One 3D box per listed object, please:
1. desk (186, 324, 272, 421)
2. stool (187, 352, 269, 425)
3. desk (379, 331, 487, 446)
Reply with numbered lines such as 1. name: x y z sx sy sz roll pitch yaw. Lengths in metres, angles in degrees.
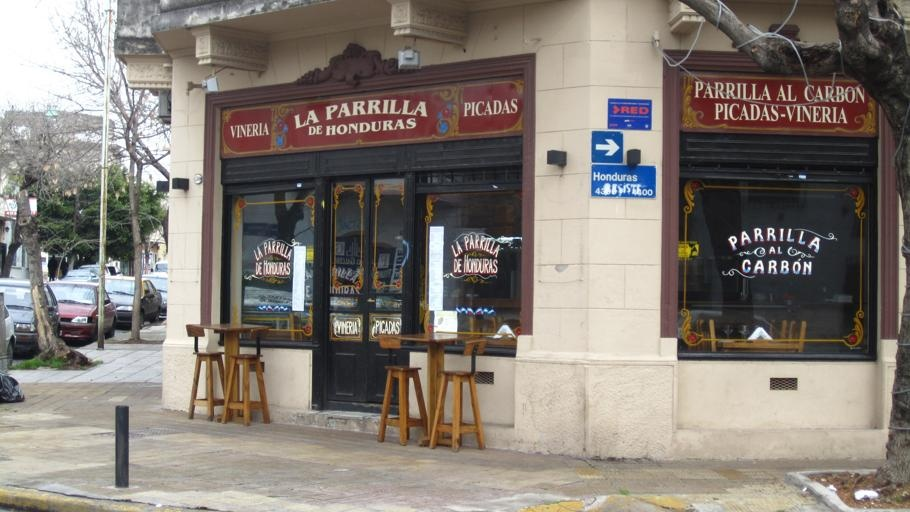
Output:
1. desk: -4.545 2.394 22.020 2.144 1.892 1.173 -2 -3 44
2. stool: -4.481 2.673 21.895 1.510 1.226 0.737 -1 -2 32
3. desk: -0.472 2.553 20.397 2.204 1.995 1.524 -2 -3 42
